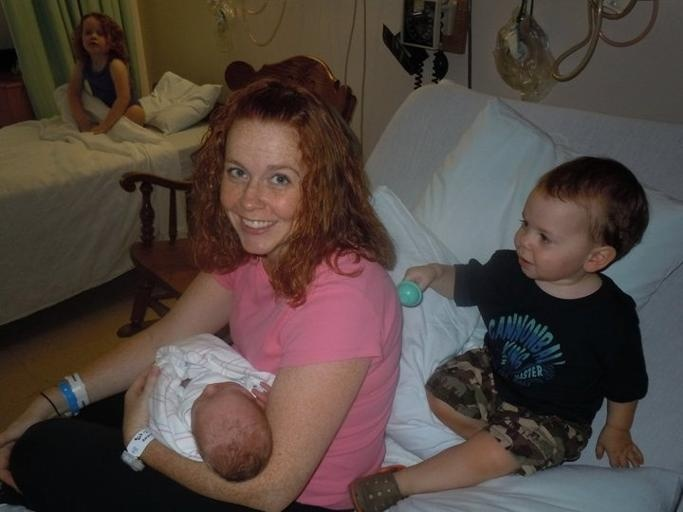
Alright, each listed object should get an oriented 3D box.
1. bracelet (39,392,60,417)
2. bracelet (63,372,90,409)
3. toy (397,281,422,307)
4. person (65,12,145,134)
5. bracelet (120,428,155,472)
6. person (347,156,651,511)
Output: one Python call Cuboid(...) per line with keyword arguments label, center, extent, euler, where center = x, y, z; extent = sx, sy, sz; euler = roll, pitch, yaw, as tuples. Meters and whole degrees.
Cuboid(label="bracelet", center=(-0.882, 0.441, 1.717), extent=(0.014, 0.062, 0.059), euler=(-41, 57, -11))
Cuboid(label="bracelet", center=(-0.806, 0.405, 1.744), extent=(0.037, 0.100, 0.072), euler=(-25, 7, -16))
Cuboid(label="toy", center=(0.193, 0.113, 1.668), extent=(0.068, 0.069, 0.044), euler=(43, 26, 9))
Cuboid(label="person", center=(-1.521, -1.184, 3.673), extent=(0.491, 0.755, 0.435), euler=(8, 17, 3))
Cuboid(label="bracelet", center=(-0.551, 0.522, 1.512), extent=(0.070, 0.103, 0.043), euler=(37, -9, 5))
Cuboid(label="person", center=(0.564, 0.011, 1.854), extent=(0.967, 1.086, 0.708), euler=(-7, 32, -14))
